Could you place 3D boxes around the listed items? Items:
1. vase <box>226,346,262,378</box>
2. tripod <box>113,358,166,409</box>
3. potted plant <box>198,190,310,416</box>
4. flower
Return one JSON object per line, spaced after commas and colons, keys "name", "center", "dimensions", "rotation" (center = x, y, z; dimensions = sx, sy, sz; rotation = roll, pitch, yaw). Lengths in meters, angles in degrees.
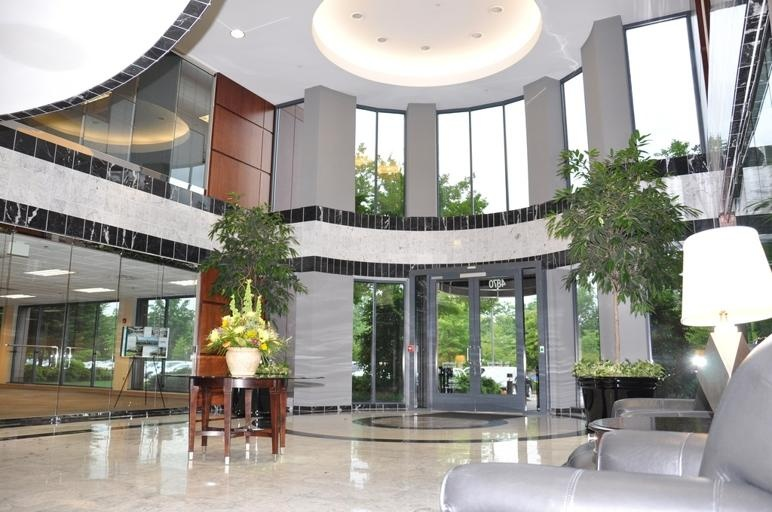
{"name": "vase", "center": [-1.564, 1.145, 5.847], "dimensions": [0.321, 0.231, 0.322], "rotation": [6, -16, -23]}
{"name": "tripod", "center": [-4.138, 2.099, 8.948], "dimensions": [0.099, 0.869, 0.804], "rotation": [-2, -12, 37]}
{"name": "potted plant", "center": [-2.207, 0.718, 9.738], "dimensions": [1.590, 3.156, 1.626], "rotation": [-3, 5, 5]}
{"name": "flower", "center": [-1.557, 0.769, 6.035], "dimensions": [0.659, 0.573, 0.629], "rotation": [-2, -7, 30]}
